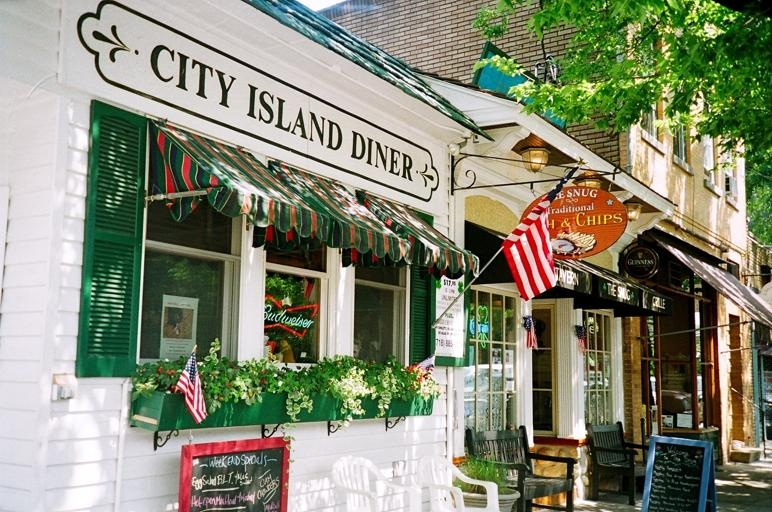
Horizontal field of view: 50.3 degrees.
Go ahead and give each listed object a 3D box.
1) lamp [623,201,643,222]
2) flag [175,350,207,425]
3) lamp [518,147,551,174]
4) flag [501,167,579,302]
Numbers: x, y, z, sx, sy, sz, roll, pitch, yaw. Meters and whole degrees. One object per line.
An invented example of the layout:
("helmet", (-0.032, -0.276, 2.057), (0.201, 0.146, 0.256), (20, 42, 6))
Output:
("lamp", (4.763, -0.878, 15.695), (0.290, 0.369, 0.364), (-8, -15, 17))
("flag", (-1.991, 1.340, 8.347), (0.262, 0.697, 0.483), (-3, -14, -2))
("lamp", (2.348, -1.504, 12.839), (0.369, 0.280, 0.377), (-1, -28, 1))
("flag", (2.303, -0.328, 12.235), (1.111, 0.410, 2.905), (30, -31, 23))
